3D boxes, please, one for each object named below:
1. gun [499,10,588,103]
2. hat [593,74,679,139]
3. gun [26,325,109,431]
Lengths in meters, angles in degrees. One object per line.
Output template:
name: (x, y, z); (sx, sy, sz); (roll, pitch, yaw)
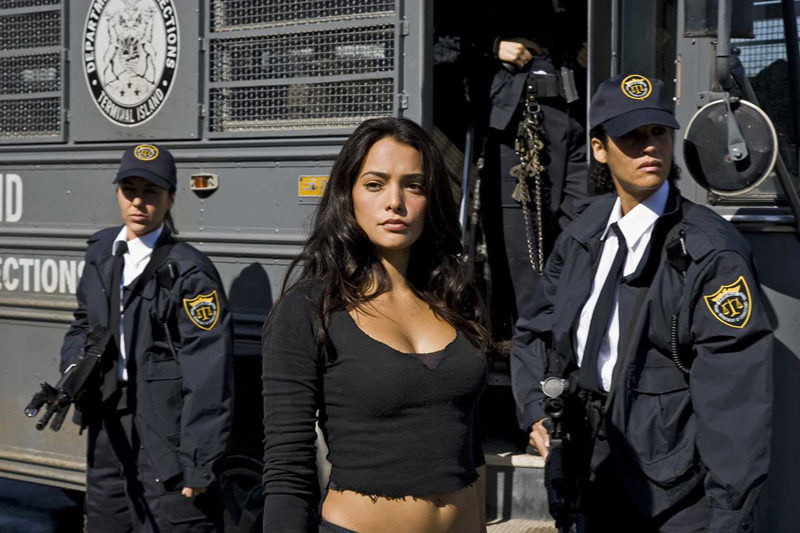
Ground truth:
gun: (1.044, -1.455, 7.026); (0.758, 0.740, 0.223); (1, -2, -6)
hat: (1.108, -0.765, 5.006); (0.286, 0.198, 0.381); (-4, 3, -13)
gun: (-1.817, 0.611, 5.642); (0.451, 0.540, 0.167); (-1, -1, -16)
